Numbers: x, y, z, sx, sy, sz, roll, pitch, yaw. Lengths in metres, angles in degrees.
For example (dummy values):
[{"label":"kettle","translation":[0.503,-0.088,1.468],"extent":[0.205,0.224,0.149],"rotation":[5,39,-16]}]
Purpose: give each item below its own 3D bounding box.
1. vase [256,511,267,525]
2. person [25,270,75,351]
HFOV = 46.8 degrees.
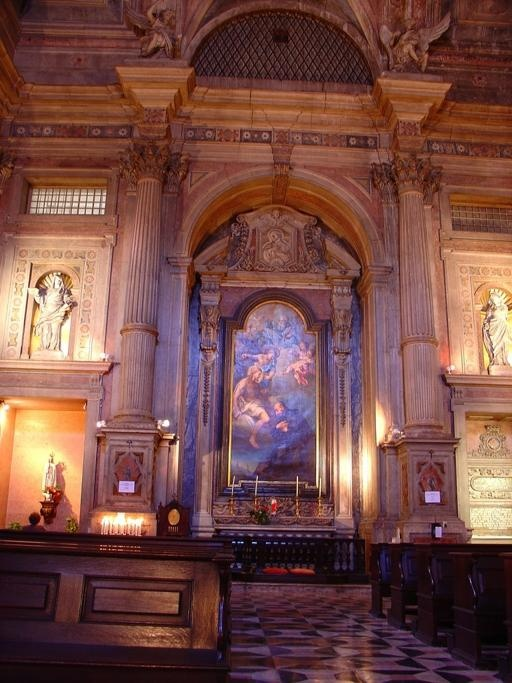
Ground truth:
[{"label":"vase","translation":[0.125,3.401,11.462],"extent":[0.205,0.240,0.099],"rotation":[1,-6,2]},{"label":"person","translation":[-3.972,-0.626,11.532],"extent":[0.883,1.635,0.308],"rotation":[-2,-15,7]}]
